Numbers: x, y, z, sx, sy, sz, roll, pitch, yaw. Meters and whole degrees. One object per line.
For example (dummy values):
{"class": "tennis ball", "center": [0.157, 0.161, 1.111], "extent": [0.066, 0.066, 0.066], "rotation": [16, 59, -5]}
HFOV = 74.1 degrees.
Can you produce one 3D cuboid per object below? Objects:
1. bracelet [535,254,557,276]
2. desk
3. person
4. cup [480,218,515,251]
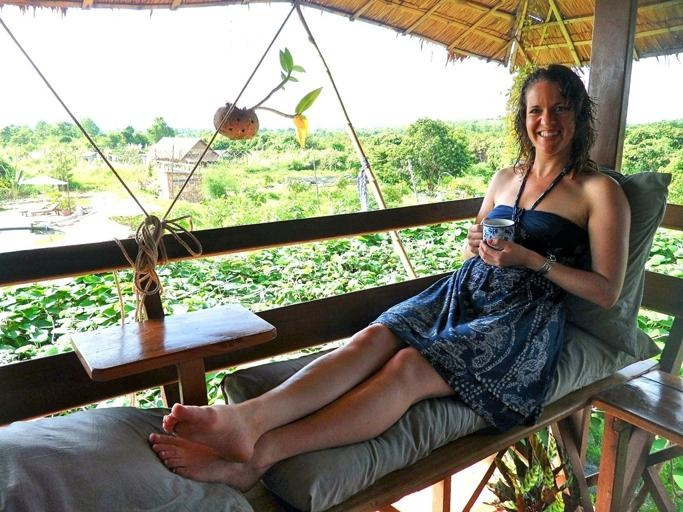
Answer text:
{"class": "bracelet", "center": [0.767, 0.042, 1.731], "extent": [0.027, 0.073, 0.067], "rotation": [34, 47, 4]}
{"class": "desk", "center": [-0.592, 0.400, 1.608], "extent": [0.633, 0.270, 0.395], "rotation": [-3, 13, -39]}
{"class": "person", "center": [0.243, 0.032, 1.683], "extent": [1.921, 1.183, 0.773], "rotation": [-16, 18, -25]}
{"class": "cup", "center": [0.591, -0.086, 1.763], "extent": [0.103, 0.098, 0.133], "rotation": [-12, 18, -31]}
